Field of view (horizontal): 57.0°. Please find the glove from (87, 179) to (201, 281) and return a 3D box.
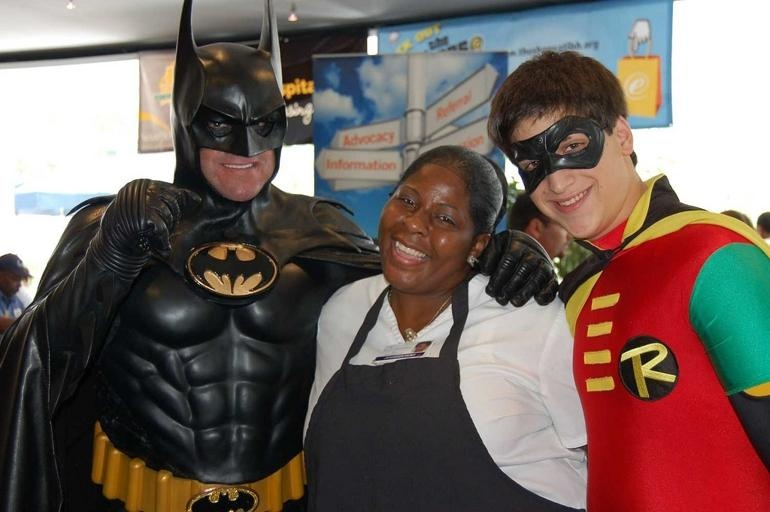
[{"bbox_3d":[-1.040,-0.108,2.955,0.376,0.413,0.202,1,15,9],"label":"glove"}]
